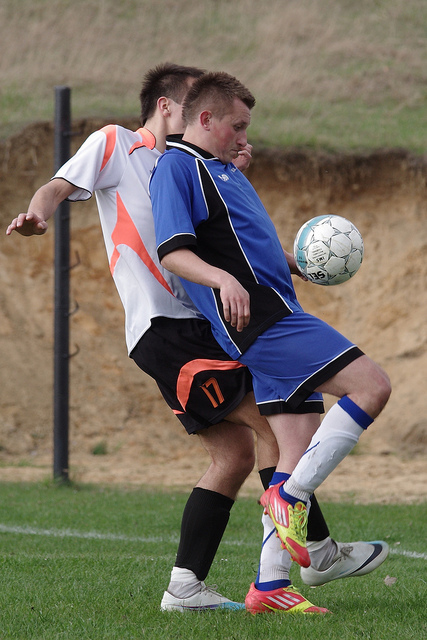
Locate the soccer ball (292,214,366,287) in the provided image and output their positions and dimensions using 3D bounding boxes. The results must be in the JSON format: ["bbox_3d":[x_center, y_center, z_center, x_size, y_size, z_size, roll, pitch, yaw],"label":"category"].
[{"bbox_3d":[0.492,-0.271,4.406,0.303,0.282,0.303,-14,-1,0],"label":"soccer ball"}]

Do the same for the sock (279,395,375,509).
[{"bbox_3d":[0.419,0.491,4.010,0.329,0.396,0.156,3,-1,2],"label":"sock"}]

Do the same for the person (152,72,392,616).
[{"bbox_3d":[0.203,-0.032,4.064,0.923,1.881,0.371,3,-1,4],"label":"person"}]

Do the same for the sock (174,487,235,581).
[{"bbox_3d":[-0.041,0.861,4.285,0.217,0.356,0.110,3,-1,0],"label":"sock"}]
